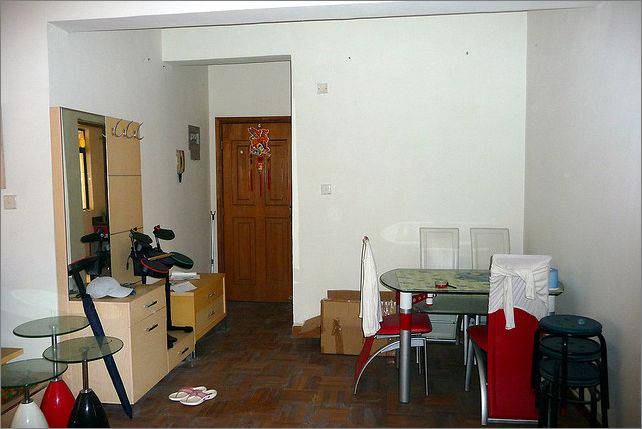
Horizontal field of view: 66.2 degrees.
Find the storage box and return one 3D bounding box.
[{"bbox_3d":[0.269,1.173,5.444,0.858,0.459,0.680,-1,13,4],"label":"storage box"}]

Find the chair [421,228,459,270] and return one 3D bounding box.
[{"bbox_3d":[1.306,0.347,5.454,0.419,0.796,0.423,0,5,11],"label":"chair"}]

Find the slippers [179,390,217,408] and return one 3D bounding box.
[{"bbox_3d":[-1.098,1.644,4.435,0.228,0.063,0.116,-3,8,-34],"label":"slippers"}]

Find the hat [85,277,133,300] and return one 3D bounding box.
[{"bbox_3d":[-1.853,0.648,4.312,0.304,0.124,0.204,2,5,-5],"label":"hat"}]

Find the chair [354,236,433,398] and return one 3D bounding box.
[{"bbox_3d":[0.627,0.934,4.771,0.853,1.398,0.859,1,4,-21],"label":"chair"}]
